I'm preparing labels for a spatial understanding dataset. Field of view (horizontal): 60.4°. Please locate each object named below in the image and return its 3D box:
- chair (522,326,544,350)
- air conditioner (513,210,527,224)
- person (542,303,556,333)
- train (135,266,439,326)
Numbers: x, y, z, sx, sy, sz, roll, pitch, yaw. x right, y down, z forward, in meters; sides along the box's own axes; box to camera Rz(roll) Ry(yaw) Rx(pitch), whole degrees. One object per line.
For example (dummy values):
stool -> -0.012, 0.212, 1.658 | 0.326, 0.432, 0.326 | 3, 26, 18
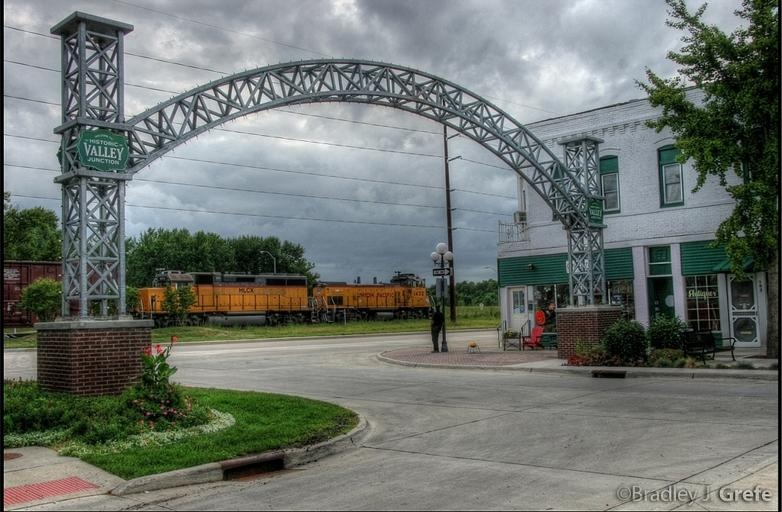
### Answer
chair -> 6.650, 3.843, 31.725 | 0.905, 1.227, 1.234 | -8, -4, 44
air conditioner -> 6.417, -1.902, 33.348 | 0.598, 0.442, 0.406 | -2, 0, 11
person -> 7.583, 3.013, 32.189 | 0.299, 1.171, 1.263 | 4, -6, -12
train -> -8.160, 3.641, 54.109 | 23.918, 5.490, 4.618 | 0, -1, -34
